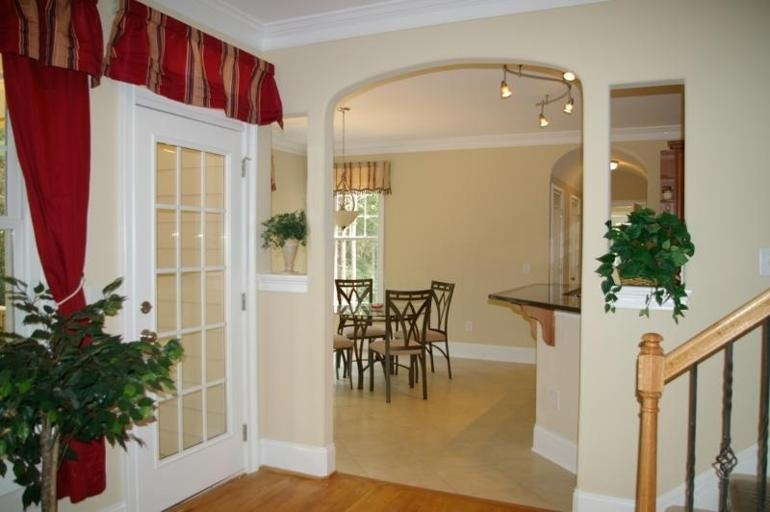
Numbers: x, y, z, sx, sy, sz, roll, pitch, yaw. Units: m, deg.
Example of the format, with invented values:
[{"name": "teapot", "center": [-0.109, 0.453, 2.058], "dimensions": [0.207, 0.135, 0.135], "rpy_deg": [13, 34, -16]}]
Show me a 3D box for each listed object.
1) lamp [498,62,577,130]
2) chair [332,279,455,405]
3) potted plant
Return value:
[{"name": "lamp", "center": [1.402, -1.561, 5.504], "dimensions": [0.736, 0.284, 0.621], "rpy_deg": [20, 12, 27]}, {"name": "chair", "center": [0.202, 0.868, 6.831], "dimensions": [1.302, 0.902, 1.279], "rpy_deg": [-2, 2, -28]}, {"name": "potted plant", "center": [1.616, 0.073, 3.739], "dimensions": [0.529, 0.747, 0.484], "rpy_deg": [-2, 5, 24]}]
